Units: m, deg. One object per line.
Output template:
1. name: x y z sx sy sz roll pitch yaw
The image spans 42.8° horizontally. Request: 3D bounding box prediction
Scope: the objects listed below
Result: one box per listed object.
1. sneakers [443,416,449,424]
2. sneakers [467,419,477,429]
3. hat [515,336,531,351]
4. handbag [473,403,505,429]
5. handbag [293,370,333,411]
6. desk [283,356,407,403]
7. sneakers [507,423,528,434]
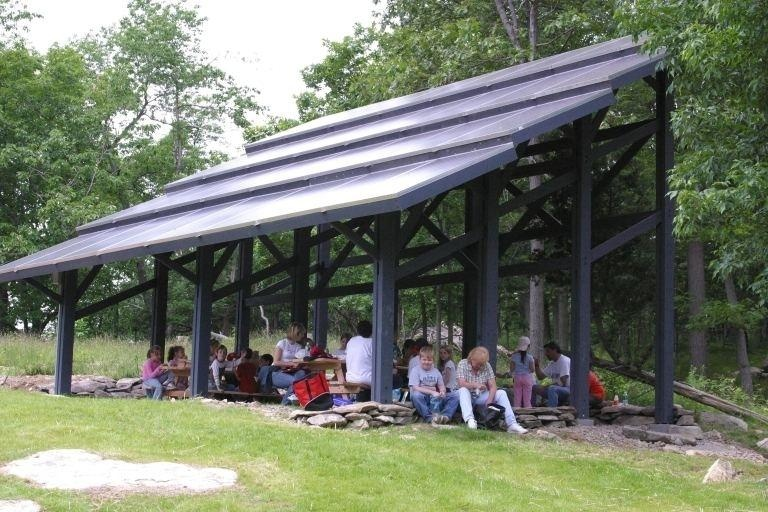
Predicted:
1. sneakers: 1.450 3.950 23.495 0.109 0.174 0.229 -10 -16 39
2. sneakers: 2.069 4.017 23.389 0.139 0.266 0.121 -15 -27 16
3. hat: 3.732 2.384 26.476 0.353 0.264 0.397 -8 -9 -3
4. handbag: 2.518 3.891 23.691 0.585 0.255 0.608 -2 -1 -40
5. handbag: -1.658 3.325 24.725 0.928 1.029 0.750 9 37 44
6. desk: -1.455 3.140 24.930 1.581 0.820 1.463 -1 0 45
7. sneakers: 3.217 4.198 23.775 0.506 0.238 0.207 -1 -3 11
